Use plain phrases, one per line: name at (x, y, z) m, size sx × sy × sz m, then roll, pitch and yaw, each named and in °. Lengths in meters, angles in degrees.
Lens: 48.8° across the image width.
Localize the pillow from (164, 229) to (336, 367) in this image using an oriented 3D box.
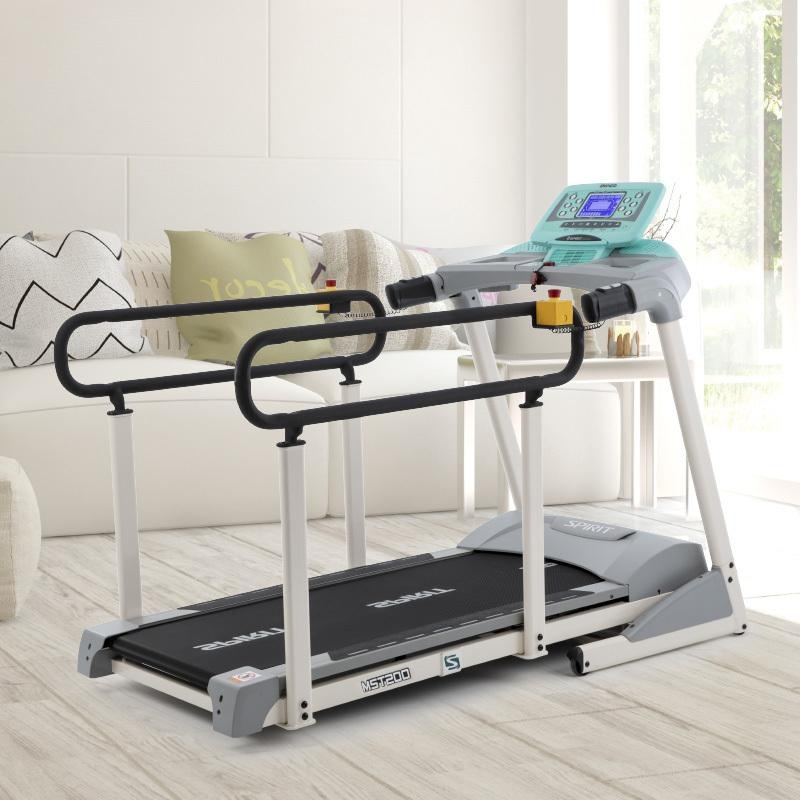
pillow at (-0.638, -0.439, 3.657) m, size 0.682 × 0.502 × 0.349 m, roll -11°, pitch 27°, yaw -42°

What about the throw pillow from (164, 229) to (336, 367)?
throw pillow at (-0.630, -0.434, 3.663) m, size 0.369 × 0.530 × 0.716 m, roll 21°, pitch 24°, yaw 35°

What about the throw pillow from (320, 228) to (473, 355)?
throw pillow at (-0.024, -0.458, 3.897) m, size 0.360 × 0.495 × 0.736 m, roll 17°, pitch 14°, yaw 33°

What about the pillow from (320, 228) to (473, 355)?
pillow at (-0.028, -0.454, 3.897) m, size 0.354 × 0.501 × 0.751 m, roll 19°, pitch 15°, yaw 35°

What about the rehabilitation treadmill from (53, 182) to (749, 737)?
rehabilitation treadmill at (0.024, 0.037, 2.283) m, size 1.772 × 1.178 × 0.969 m, roll -5°, pitch 8°, yaw -37°
